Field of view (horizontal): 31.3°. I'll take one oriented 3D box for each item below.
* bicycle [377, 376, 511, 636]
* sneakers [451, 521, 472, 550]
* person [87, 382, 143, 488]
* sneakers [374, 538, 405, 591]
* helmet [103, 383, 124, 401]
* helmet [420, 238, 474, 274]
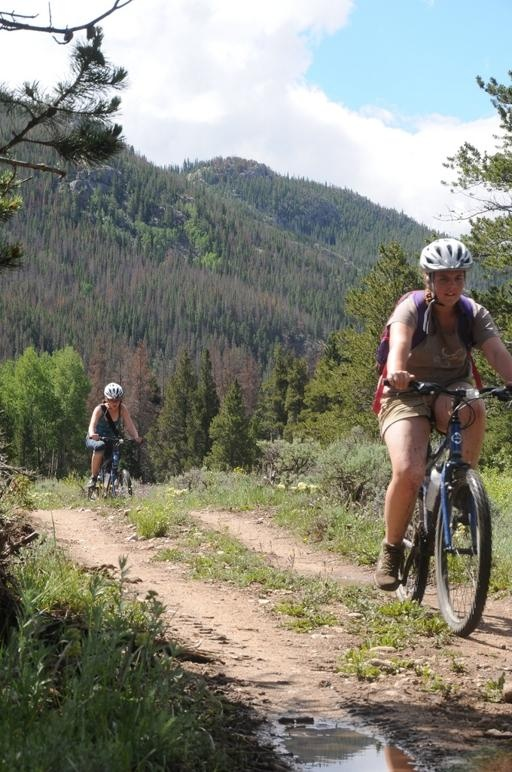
[{"bbox_3d":[1.208,0.870,5.744,0.661,1.062,1.571,5,-5,-5],"label":"bicycle"},{"bbox_3d":[1.222,0.883,5.424,0.065,0.167,0.256,5,3,-13],"label":"sneakers"},{"bbox_3d":[-2.352,0.913,14.788,0.731,1.623,1.384,5,2,-12],"label":"person"},{"bbox_3d":[0.869,1.148,6.041,0.157,0.250,0.532,1,12,11],"label":"sneakers"},{"bbox_3d":[-2.257,0.092,14.597,0.228,0.239,0.338,4,13,-22],"label":"helmet"},{"bbox_3d":[1.176,-0.808,5.668,0.295,0.225,0.333,7,2,12],"label":"helmet"}]
